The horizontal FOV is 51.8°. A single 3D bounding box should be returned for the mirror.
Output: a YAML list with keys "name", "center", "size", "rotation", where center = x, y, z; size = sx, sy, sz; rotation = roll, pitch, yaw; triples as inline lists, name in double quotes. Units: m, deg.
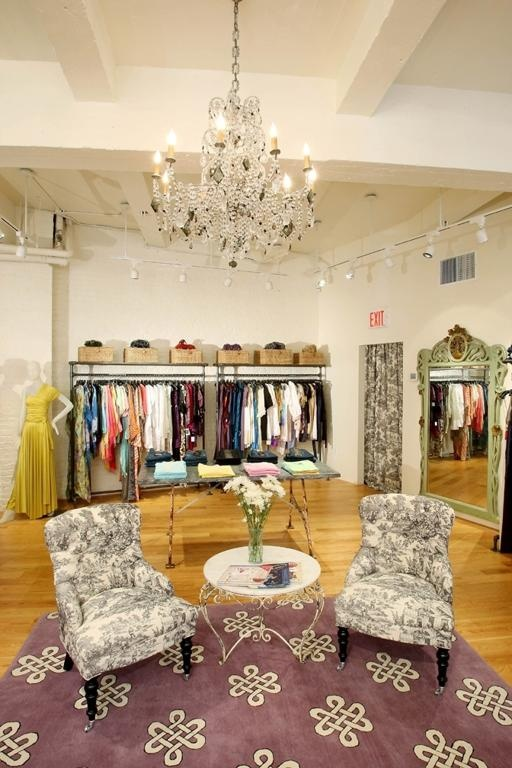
- name: "mirror"
  center: [1.985, 0.373, 5.099]
  size: [0.116, 1.855, 1.007]
  rotation: [-1, 3, -25]

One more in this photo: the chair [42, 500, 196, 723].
- name: "chair"
  center: [-0.714, 1.086, 2.629]
  size: [0.669, 0.846, 0.606]
  rotation: [0, 1, 35]

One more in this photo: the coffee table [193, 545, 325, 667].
- name: "coffee table"
  center: [0.033, 1.148, 2.919]
  size: [0.522, 0.451, 0.580]
  rotation: [0, 2, -1]

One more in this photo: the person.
- name: "person"
  center: [-2.221, 0.559, 5.338]
  size: [0.670, 1.509, 0.663]
  rotation: [-1, 3, -23]

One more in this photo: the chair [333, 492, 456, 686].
- name: "chair"
  center: [0.742, 1.079, 2.845]
  size: [0.574, 0.853, 0.720]
  rotation: [-1, -4, 19]
